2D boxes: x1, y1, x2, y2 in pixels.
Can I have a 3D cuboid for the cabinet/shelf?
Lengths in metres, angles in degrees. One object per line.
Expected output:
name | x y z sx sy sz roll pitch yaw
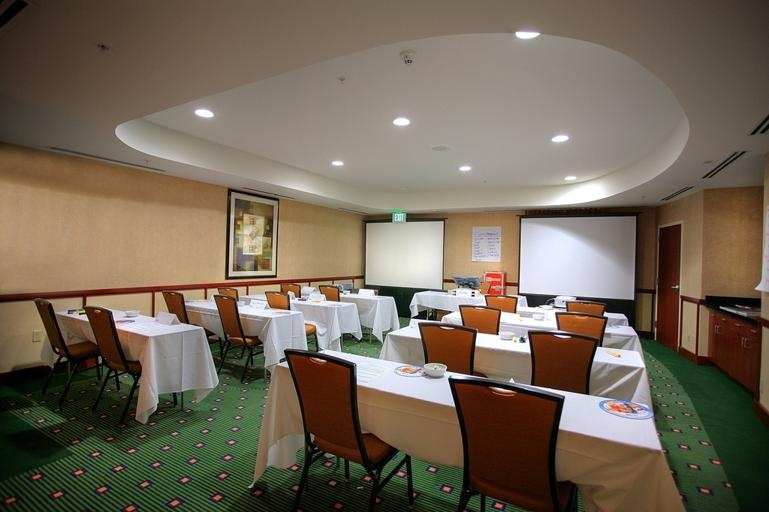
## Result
cabinet/shelf | 5.051 1.366 6.679 0.538 0.987 1.069 2 0 23

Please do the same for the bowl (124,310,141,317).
bowl | -3.324 0.752 6.061 0.107 0.048 0.113 -4 1 0

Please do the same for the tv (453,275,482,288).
tv | 1.743 0.544 9.665 0.445 0.214 0.333 -1 0 27
